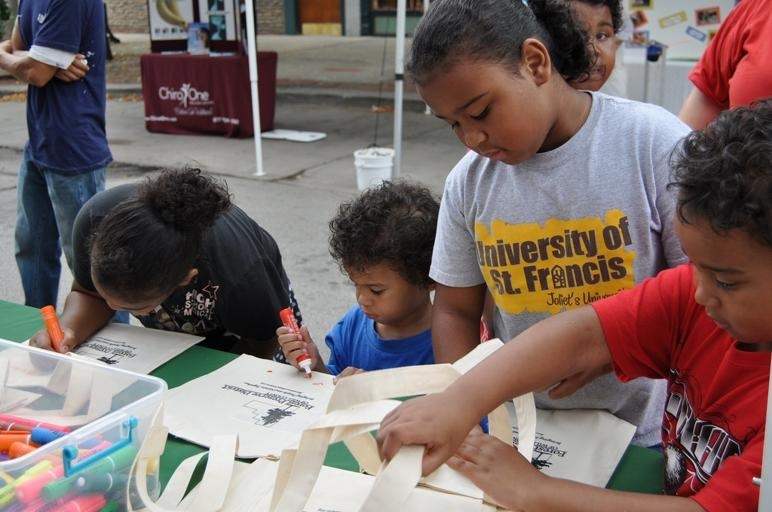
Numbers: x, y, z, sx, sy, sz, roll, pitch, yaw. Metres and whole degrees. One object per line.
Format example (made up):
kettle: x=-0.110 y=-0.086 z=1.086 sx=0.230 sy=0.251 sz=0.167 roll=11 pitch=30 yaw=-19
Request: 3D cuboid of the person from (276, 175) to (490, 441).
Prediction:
person: x=0.007 y=0.286 z=2.094 sx=0.570 sy=0.950 sz=0.624 roll=3 pitch=1 yaw=-38

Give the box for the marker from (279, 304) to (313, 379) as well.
marker: x=-0.288 y=0.245 z=1.982 sx=0.060 sy=0.060 sz=0.285 roll=11 pitch=33 yaw=-47

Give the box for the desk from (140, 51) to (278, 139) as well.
desk: x=-2.163 y=-1.890 z=7.629 sx=2.065 sy=1.025 sz=0.664 roll=10 pitch=24 yaw=27
